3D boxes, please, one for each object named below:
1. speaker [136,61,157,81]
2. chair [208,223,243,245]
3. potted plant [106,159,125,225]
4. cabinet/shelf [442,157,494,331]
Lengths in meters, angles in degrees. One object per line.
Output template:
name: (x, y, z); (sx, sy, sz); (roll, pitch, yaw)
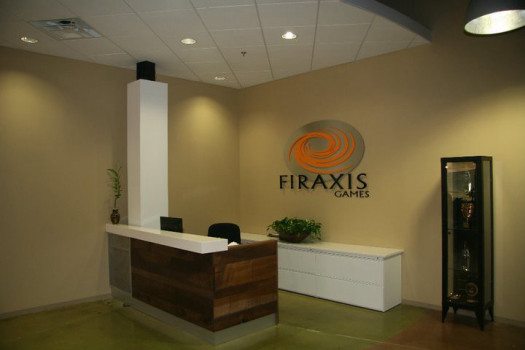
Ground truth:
speaker: (-2.023, -1.830, 6.393); (0.334, 0.353, 0.373); (-3, 7, -18)
chair: (-0.663, 0.956, 6.272); (0.387, 0.344, 0.391); (-1, 0, -26)
potted plant: (-2.582, 0.349, 6.469); (0.261, 1.028, 0.362); (-4, 7, -23)
cabinet/shelf: (2.992, 0.949, 5.313); (0.763, 2.448, 0.566); (1, 7, 18)
